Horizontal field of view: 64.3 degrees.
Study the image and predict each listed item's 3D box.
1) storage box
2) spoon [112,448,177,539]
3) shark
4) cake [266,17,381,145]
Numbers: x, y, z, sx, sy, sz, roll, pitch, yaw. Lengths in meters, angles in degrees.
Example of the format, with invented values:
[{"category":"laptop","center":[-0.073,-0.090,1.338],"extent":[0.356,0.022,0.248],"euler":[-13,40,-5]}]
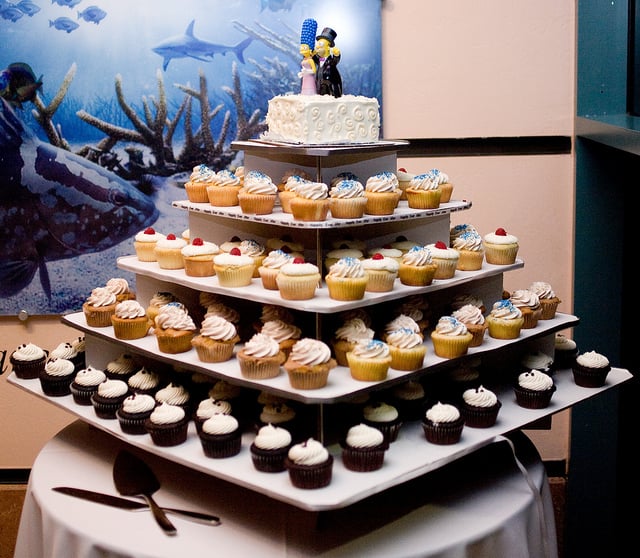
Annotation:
[{"category":"storage box","center":[0.019,-0.493,2.257],"extent":[0.700,0.160,0.363],"euler":[-1,7,-8]},{"category":"spoon","center":[-0.641,0.801,1.878],"extent":[0.149,0.040,0.579],"euler":[-3,12,-20]},{"category":"shark","center":[-0.769,-1.541,3.366],"extent":[0.647,0.302,0.014],"euler":[0,7,0]},{"category":"cake","center":[0.014,-0.844,2.184],"extent":[0.499,0.588,0.405],"euler":[-1,7,-6]}]
